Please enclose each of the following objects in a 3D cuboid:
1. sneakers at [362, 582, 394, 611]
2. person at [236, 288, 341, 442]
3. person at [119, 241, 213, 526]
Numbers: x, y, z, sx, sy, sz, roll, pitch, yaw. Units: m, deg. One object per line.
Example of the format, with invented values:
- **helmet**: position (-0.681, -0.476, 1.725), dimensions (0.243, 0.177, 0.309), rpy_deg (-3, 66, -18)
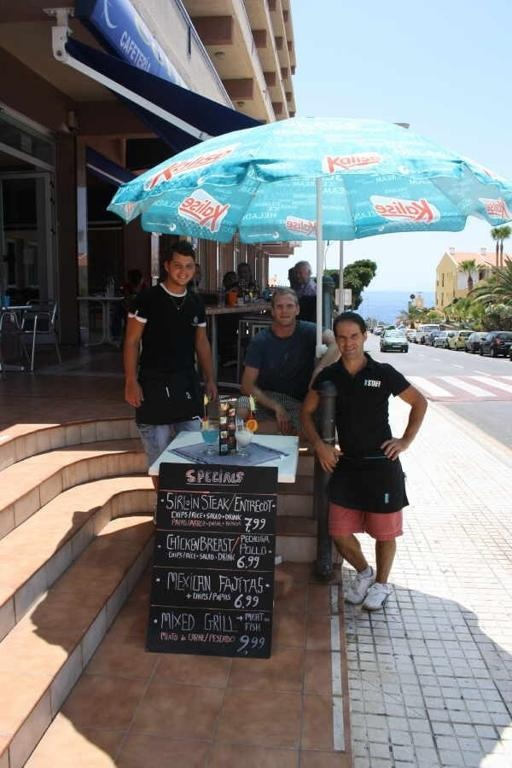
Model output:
- **sneakers**: position (0.690, 1.234, 3.168), dimensions (0.081, 0.106, 0.230), rpy_deg (3, 0, 26)
- **person**: position (0.221, -0.159, 3.899), dimensions (0.775, 0.978, 0.630), rpy_deg (-17, 26, -26)
- **person**: position (-0.534, -0.023, 3.466), dimensions (0.545, 1.715, 0.390), rpy_deg (-3, 17, -19)
